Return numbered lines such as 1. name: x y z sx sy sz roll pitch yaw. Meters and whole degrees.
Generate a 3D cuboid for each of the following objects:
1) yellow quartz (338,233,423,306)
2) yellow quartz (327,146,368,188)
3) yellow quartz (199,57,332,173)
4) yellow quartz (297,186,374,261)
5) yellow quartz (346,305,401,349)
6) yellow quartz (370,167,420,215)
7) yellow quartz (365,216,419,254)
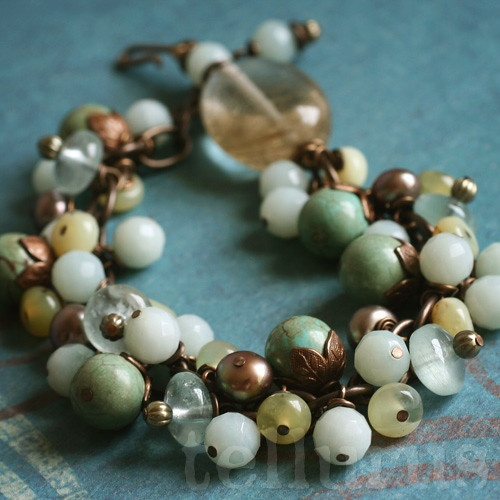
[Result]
1. yellow quartz: 0.208 0.036 1.130 0.132 0.119 0.124 -7 87 -4
2. yellow quartz: 0.200 -0.167 1.292 0.096 0.086 0.090 -1 101 6
3. yellow quartz: 0.021 -0.275 1.383 0.248 0.141 0.202 40 82 12
4. yellow quartz: 0.145 -0.049 1.214 0.127 0.119 0.142 10 40 23
5. yellow quartz: 0.190 0.116 1.031 0.085 0.074 0.064 -24 106 -52
6. yellow quartz: 0.269 -0.109 1.203 0.093 0.091 0.089 2 94 -40
7. yellow quartz: 0.246 -0.028 1.154 0.057 0.063 0.051 -14 68 -38
